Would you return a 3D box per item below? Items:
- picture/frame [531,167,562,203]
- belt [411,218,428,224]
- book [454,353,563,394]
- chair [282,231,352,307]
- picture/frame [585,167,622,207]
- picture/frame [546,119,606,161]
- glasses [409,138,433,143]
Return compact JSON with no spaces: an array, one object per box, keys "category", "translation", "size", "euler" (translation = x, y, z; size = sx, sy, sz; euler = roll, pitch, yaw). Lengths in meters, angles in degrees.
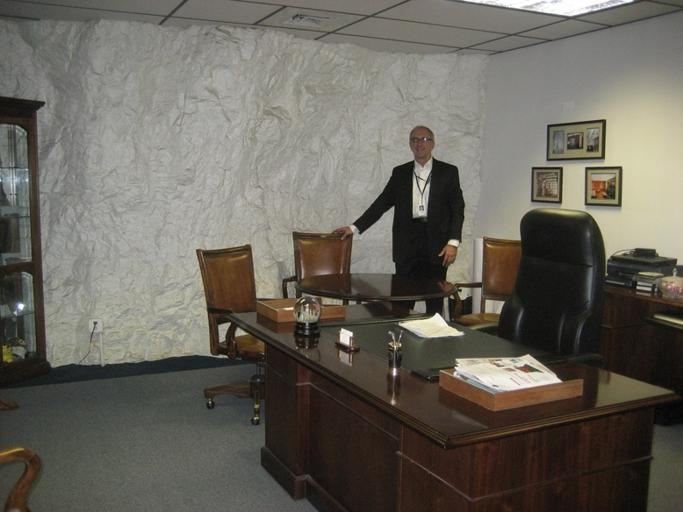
[{"category":"picture/frame","translation":[2.088,-0.718,5.327],"size":[0.026,0.412,0.342],"euler":[1,3,-33]},{"category":"belt","translation":[0.737,-0.332,4.973],"size":[0.139,0.058,0.026],"euler":[2,9,12]},{"category":"book","translation":[0.638,0.455,2.103],"size":[0.392,0.041,0.321],"euler":[-2,9,-19]},{"category":"chair","translation":[-0.211,0.102,5.219],"size":[0.534,0.975,0.647],"euler":[0,-1,-6]},{"category":"picture/frame","translation":[2.412,-0.636,4.829],"size":[0.028,0.443,0.363],"euler":[0,1,-34]},{"category":"picture/frame","translation":[2.259,-1.104,5.033],"size":[0.022,0.322,0.439],"euler":[-3,8,-32]},{"category":"glasses","translation":[0.750,-1.076,4.932],"size":[0.199,0.055,0.096],"euler":[2,8,8]}]
